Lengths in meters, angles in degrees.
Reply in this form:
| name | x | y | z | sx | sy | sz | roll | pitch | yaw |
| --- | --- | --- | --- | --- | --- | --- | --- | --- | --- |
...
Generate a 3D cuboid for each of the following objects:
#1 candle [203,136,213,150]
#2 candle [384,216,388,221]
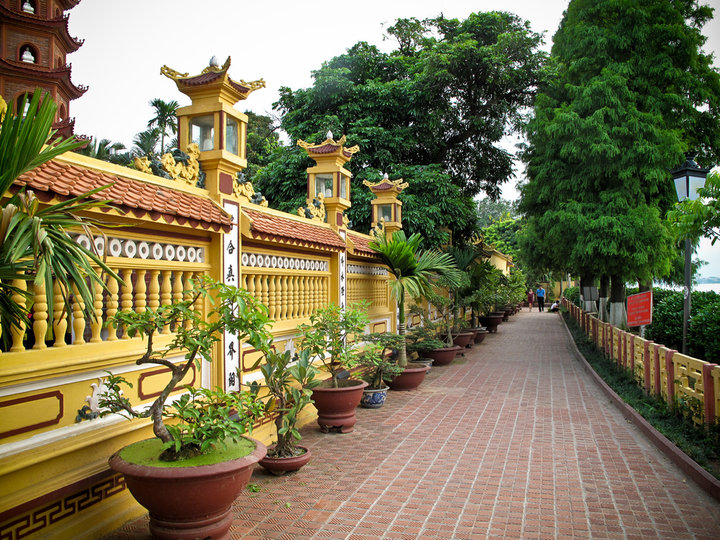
| name | x | y | z | sx | sy | sz | roll | pitch | yaw |
| --- | --- | --- | --- | --- | --- | --- | --- | --- | --- |
| candle | -1.844 | -1.504 | 6.718 | 0.110 | 0.149 | 0.135 | -2 | -9 | 2 |
| candle | 0.590 | -1.179 | 13.019 | 0.090 | 0.111 | 0.097 | 12 | -14 | -42 |
